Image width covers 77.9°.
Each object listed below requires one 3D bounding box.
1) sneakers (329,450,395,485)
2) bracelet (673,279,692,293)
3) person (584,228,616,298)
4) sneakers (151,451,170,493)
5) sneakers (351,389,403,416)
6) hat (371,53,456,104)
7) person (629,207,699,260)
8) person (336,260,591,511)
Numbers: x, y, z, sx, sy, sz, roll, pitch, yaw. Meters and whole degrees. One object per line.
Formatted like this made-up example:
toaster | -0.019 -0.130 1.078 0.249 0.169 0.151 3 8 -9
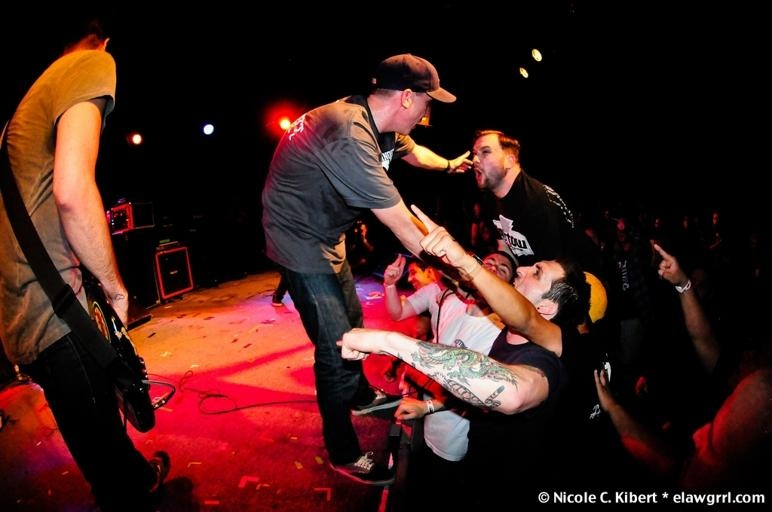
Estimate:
sneakers | -0.192 1.772 4.077 0.568 0.218 0.236 7 17 0
bracelet | 2.677 0.270 4.286 0.163 0.126 0.053 -3 15 -5
person | 2.476 0.085 5.501 0.174 0.695 0.748 -19 3 32
sneakers | -1.840 1.735 3.922 0.125 0.138 0.352 14 31 -17
sneakers | -0.066 1.415 4.710 0.621 0.184 0.236 -7 13 -16
hat | 0.236 -1.484 4.033 0.785 0.383 0.525 5 17 -2
person | 4.144 -0.327 7.042 0.907 0.243 0.966 -5 43 30
person | 0.753 0.988 3.542 1.548 2.029 0.881 -12 18 -34
